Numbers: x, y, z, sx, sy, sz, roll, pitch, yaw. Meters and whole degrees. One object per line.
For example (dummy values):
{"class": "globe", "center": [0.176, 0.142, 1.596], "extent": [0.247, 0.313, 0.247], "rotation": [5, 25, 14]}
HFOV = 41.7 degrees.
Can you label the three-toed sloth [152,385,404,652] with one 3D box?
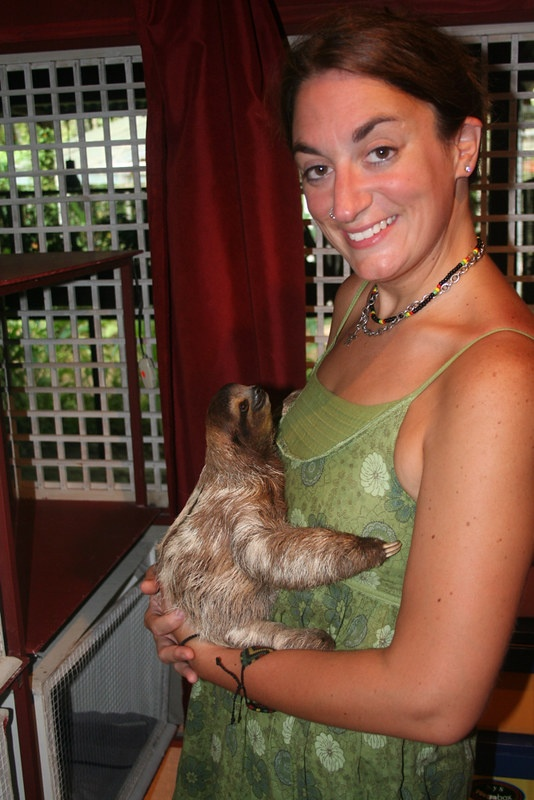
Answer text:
{"class": "three-toed sloth", "center": [0.020, 0.174, 1.044], "extent": [0.331, 0.389, 0.334], "rotation": [-4, 14, -7]}
